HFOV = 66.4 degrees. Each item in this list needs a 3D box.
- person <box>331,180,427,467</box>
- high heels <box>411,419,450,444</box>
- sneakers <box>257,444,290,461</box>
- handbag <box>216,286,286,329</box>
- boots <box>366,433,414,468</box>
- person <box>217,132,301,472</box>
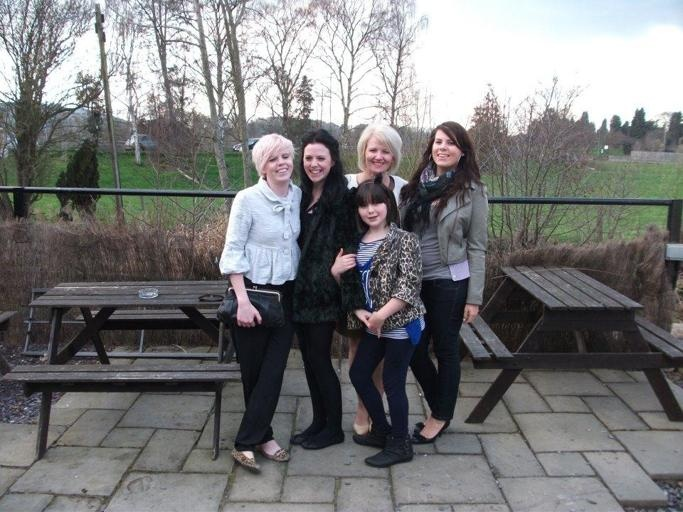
[{"bbox_3d":[0.263,0.474,3.568,0.405,1.911,0.482,-12,17,-43],"label":"person"},{"bbox_3d":[0.659,1.305,3.907,0.261,0.114,0.146,3,3,-16],"label":"high heels"},{"bbox_3d":[-0.478,1.371,3.658,0.198,0.052,0.098,4,6,36],"label":"sneakers"},{"bbox_3d":[-0.576,0.345,3.469,0.309,0.200,0.091,3,5,7],"label":"handbag"},{"bbox_3d":[0.339,1.362,3.672,0.332,0.167,0.161,-1,2,-11],"label":"boots"},{"bbox_3d":[-0.501,0.455,3.545,0.584,1.942,0.441,-5,13,-20],"label":"person"}]
